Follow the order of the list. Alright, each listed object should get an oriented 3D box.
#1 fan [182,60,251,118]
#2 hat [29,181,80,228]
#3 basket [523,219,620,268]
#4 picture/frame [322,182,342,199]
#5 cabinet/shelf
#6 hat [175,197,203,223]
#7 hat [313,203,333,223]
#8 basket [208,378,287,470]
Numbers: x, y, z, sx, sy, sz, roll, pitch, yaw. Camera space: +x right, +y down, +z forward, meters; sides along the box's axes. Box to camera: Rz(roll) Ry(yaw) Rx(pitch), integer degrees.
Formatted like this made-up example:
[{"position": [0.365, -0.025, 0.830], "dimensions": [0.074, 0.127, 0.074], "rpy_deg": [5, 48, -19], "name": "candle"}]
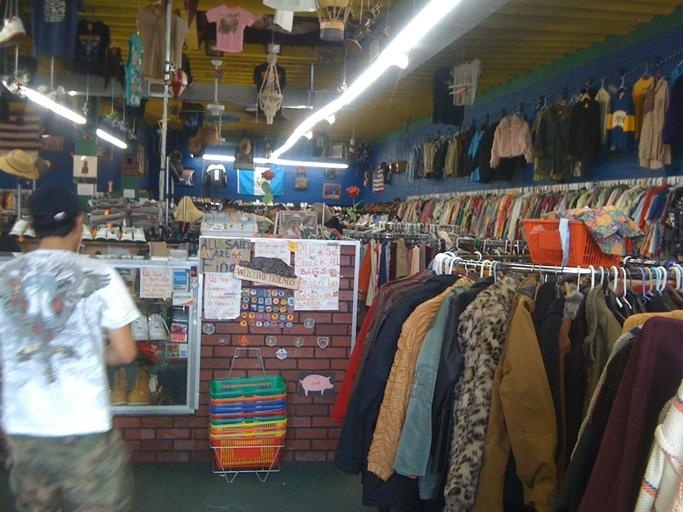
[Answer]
[{"position": [-2.139, -2.904, 12.074], "dimensions": [1.190, 1.197, 1.195], "rpy_deg": [0, 2, -17], "name": "fan"}, {"position": [-1.512, -0.290, 3.637], "dimensions": [0.187, 0.249, 0.245], "rpy_deg": [12, 24, 42], "name": "hat"}, {"position": [1.486, -0.084, 4.509], "dimensions": [0.654, 0.327, 0.472], "rpy_deg": [7, 7, 30], "name": "basket"}, {"position": [-0.336, -2.120, 21.779], "dimensions": [0.465, 0.464, 0.071], "rpy_deg": [1, 3, -12], "name": "picture/frame"}, {"position": [-1.453, 0.460, 4.149], "dimensions": [1.097, 1.077, 0.414], "rpy_deg": [1, -1, -7], "name": "cabinet/shelf"}, {"position": [-2.015, -0.623, 8.964], "dimensions": [0.320, 0.319, 0.788], "rpy_deg": [1, 7, -15], "name": "hat"}, {"position": [-0.253, -0.582, 8.997], "dimensions": [0.250, 0.144, 0.351], "rpy_deg": [20, 6, -2], "name": "hat"}, {"position": [-0.744, 1.352, 5.364], "dimensions": [0.535, 0.628, 0.716], "rpy_deg": [0, 2, -7], "name": "basket"}]
